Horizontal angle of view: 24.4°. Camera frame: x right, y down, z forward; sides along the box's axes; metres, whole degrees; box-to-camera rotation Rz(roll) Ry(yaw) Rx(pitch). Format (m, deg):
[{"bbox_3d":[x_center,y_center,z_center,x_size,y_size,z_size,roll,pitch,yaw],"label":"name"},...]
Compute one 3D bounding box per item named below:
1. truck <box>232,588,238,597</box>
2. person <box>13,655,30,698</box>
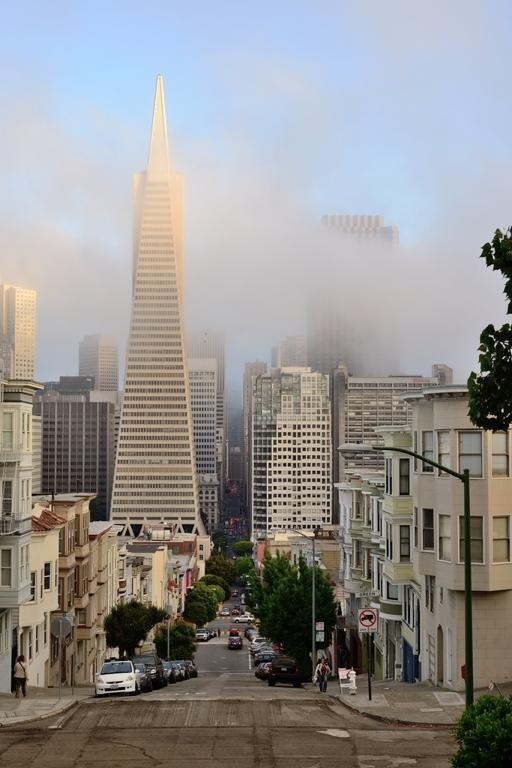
[{"bbox_3d":[-4.393,42.171,238.798,1.459,1.189,3.114,1,-13,-1],"label":"truck"},{"bbox_3d":[-7.209,8.940,36.150,0.341,1.311,1.428,1,-8,-12],"label":"person"}]
